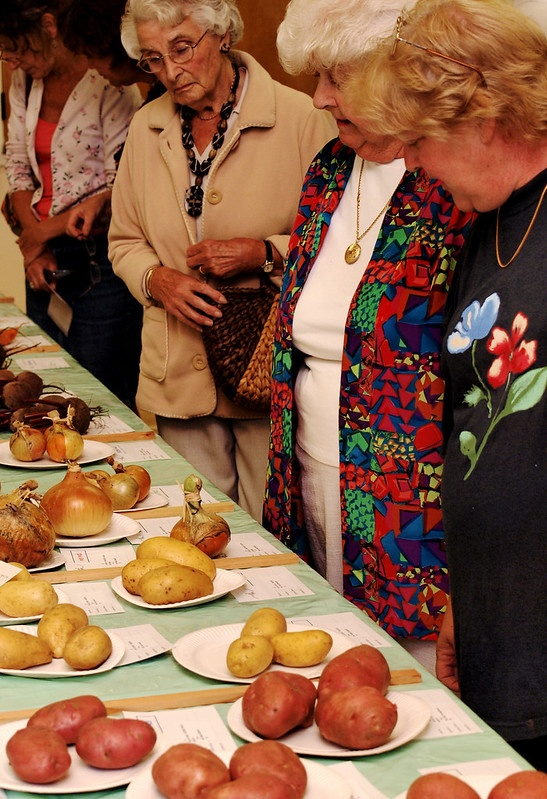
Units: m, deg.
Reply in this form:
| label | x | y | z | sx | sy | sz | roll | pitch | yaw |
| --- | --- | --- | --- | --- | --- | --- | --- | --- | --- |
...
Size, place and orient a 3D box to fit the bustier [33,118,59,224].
| label | x | y | z | sx | sy | sz | roll | pitch | yaw |
| --- | --- | --- | --- | --- | --- | --- | --- | --- | --- |
| bustier | -0.996 | -1.082 | 3.118 | 0.085 | 0.610 | 0.161 | 6 | -13 | -39 |

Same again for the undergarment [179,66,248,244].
| label | x | y | z | sx | sy | sz | roll | pitch | yaw |
| --- | --- | --- | --- | --- | --- | --- | --- | --- | --- |
| undergarment | -0.195 | -0.722 | 2.111 | 0.175 | 0.473 | 0.045 | 6 | 1 | 16 |

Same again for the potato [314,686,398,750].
| label | x | y | z | sx | sy | sz | roll | pitch | yaw |
| --- | --- | --- | --- | --- | --- | --- | --- | --- | --- |
| potato | 0.079 | 0.308 | 0.676 | 0.078 | 0.041 | 0.055 | -4 | 19 | 12 |

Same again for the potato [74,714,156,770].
| label | x | y | z | sx | sy | sz | roll | pitch | yaw |
| --- | --- | --- | --- | --- | --- | --- | --- | --- | --- |
| potato | -0.148 | 0.314 | 0.649 | 0.058 | 0.027 | 0.057 | -1 | -3 | 32 |

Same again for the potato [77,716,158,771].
| label | x | y | z | sx | sy | sz | roll | pitch | yaw |
| --- | --- | --- | --- | --- | --- | --- | --- | --- | --- |
| potato | -0.150 | 0.325 | 0.673 | 0.078 | 0.037 | 0.076 | 2 | -2 | -6 |

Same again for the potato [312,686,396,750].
| label | x | y | z | sx | sy | sz | roll | pitch | yaw |
| --- | --- | --- | --- | --- | --- | --- | --- | --- | --- |
| potato | 0.079 | 0.309 | 0.677 | 0.077 | 0.041 | 0.055 | -3 | 17 | 23 |

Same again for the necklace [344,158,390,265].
| label | x | y | z | sx | sy | sz | roll | pitch | yaw |
| --- | --- | --- | --- | --- | --- | --- | --- | --- | --- |
| necklace | 0.199 | -0.413 | 1.546 | 0.079 | 0.240 | 0.019 | 16 | -21 | 24 |

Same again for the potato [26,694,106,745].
| label | x | y | z | sx | sy | sz | roll | pitch | yaw |
| --- | --- | --- | --- | --- | --- | --- | --- | --- | --- |
| potato | -0.193 | 0.305 | 0.686 | 0.046 | 0.028 | 0.060 | -2 | -5 | -38 |

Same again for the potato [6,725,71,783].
| label | x | y | z | sx | sy | sz | roll | pitch | yaw |
| --- | --- | --- | --- | --- | --- | --- | --- | --- | --- |
| potato | -0.207 | 0.316 | 0.622 | 0.049 | 0.027 | 0.053 | 3 | 17 | -19 |

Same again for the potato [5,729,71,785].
| label | x | y | z | sx | sy | sz | roll | pitch | yaw |
| --- | --- | --- | --- | --- | --- | --- | --- | --- | --- |
| potato | -0.211 | 0.321 | 0.635 | 0.041 | 0.034 | 0.052 | -2 | 8 | -40 |

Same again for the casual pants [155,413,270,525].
| label | x | y | z | sx | sy | sz | roll | pitch | yaw |
| --- | --- | --- | --- | --- | --- | --- | --- | --- | --- |
| casual pants | -0.202 | 0.174 | 2.383 | 0.367 | 0.114 | 0.531 | 0 | 9 | -4 |

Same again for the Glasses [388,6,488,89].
| label | x | y | z | sx | sy | sz | roll | pitch | yaw |
| --- | --- | --- | --- | --- | --- | --- | --- | --- | --- |
| Glasses | 0.208 | -0.379 | 0.763 | 0.099 | 0.024 | 0.083 | 7 | -10 | -1 |

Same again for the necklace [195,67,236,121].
| label | x | y | z | sx | sy | sz | roll | pitch | yaw |
| --- | --- | --- | --- | --- | --- | --- | --- | --- | --- |
| necklace | -0.159 | -0.922 | 2.105 | 0.124 | 0.187 | 0.071 | 1 | 7 | -19 |

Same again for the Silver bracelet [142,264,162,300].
| label | x | y | z | sx | sy | sz | roll | pitch | yaw |
| --- | --- | --- | --- | --- | --- | --- | --- | --- | --- |
| Silver bracelet | -0.380 | -0.370 | 2.177 | 0.036 | 0.089 | 0.079 | 1 | 20 | 24 |
